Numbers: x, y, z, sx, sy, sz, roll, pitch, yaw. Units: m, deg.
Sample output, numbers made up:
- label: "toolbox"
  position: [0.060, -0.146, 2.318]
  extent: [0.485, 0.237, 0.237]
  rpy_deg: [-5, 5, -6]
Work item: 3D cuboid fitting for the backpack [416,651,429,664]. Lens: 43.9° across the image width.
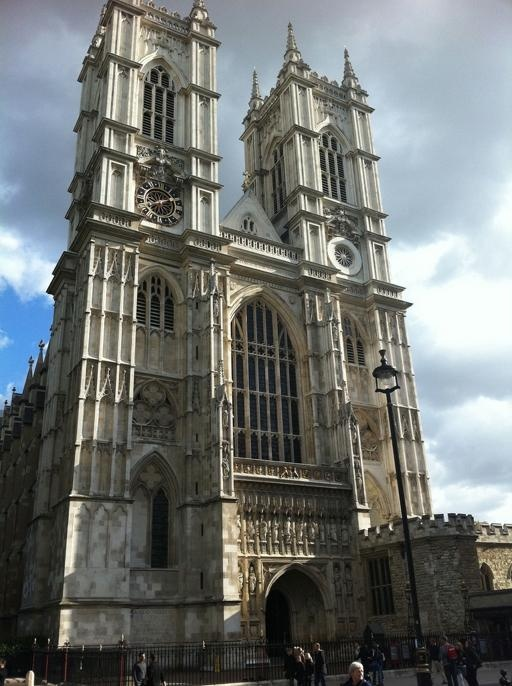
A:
- label: "backpack"
  position: [3.688, 7.003, 14.198]
  extent: [0.225, 0.323, 0.435]
  rpy_deg: [-8, -23, 7]
